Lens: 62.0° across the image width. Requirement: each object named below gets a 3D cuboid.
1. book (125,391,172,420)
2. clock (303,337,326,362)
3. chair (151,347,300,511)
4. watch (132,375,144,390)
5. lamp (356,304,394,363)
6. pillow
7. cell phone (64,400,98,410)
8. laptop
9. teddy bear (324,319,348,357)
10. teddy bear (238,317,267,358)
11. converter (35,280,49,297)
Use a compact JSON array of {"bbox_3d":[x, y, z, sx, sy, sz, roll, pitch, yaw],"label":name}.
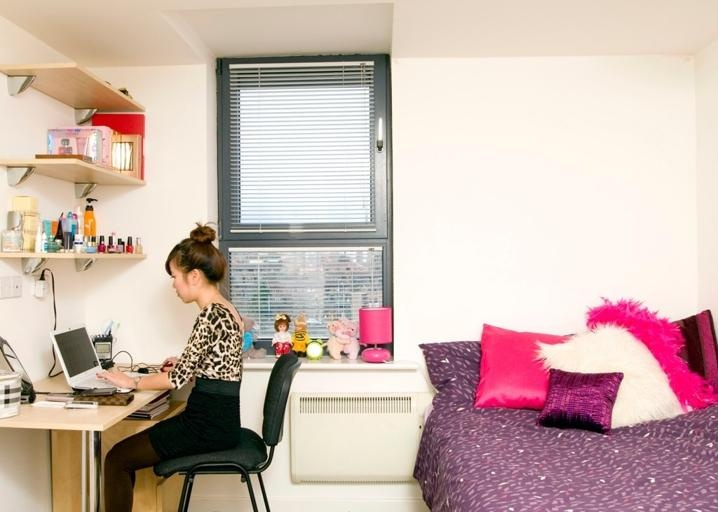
[{"bbox_3d":[-1.149,0.816,3.249,0.234,0.056,0.235,-1,-1,2],"label":"book"},{"bbox_3d":[-0.259,0.597,3.808,0.154,0.116,0.114,-1,3,-32],"label":"clock"},{"bbox_3d":[-0.586,0.956,3.435,0.905,1.143,0.645,3,-6,-8],"label":"chair"},{"bbox_3d":[-1.139,0.657,3.092,0.051,0.083,0.083,0,-2,1],"label":"watch"},{"bbox_3d":[0.107,0.487,3.768,0.212,0.337,0.266,0,2,1],"label":"lamp"},{"bbox_3d":[1.230,0.601,3.264,0.950,0.854,0.362,-3,-14,11],"label":"pillow"},{"bbox_3d":[-1.383,0.745,2.992,0.173,0.033,0.054,1,2,8],"label":"cell phone"},{"bbox_3d":[-1.427,0.559,3.269,0.372,0.250,0.401,5,0,-3],"label":"laptop"},{"bbox_3d":[-0.123,0.528,3.839,0.173,0.255,0.245,5,-4,-17],"label":"teddy bear"},{"bbox_3d":[-0.672,0.507,3.850,0.188,0.227,0.164,10,7,-2],"label":"teddy bear"},{"bbox_3d":[-1.810,0.192,3.422,0.032,0.110,0.113,0,2,6],"label":"converter"}]
